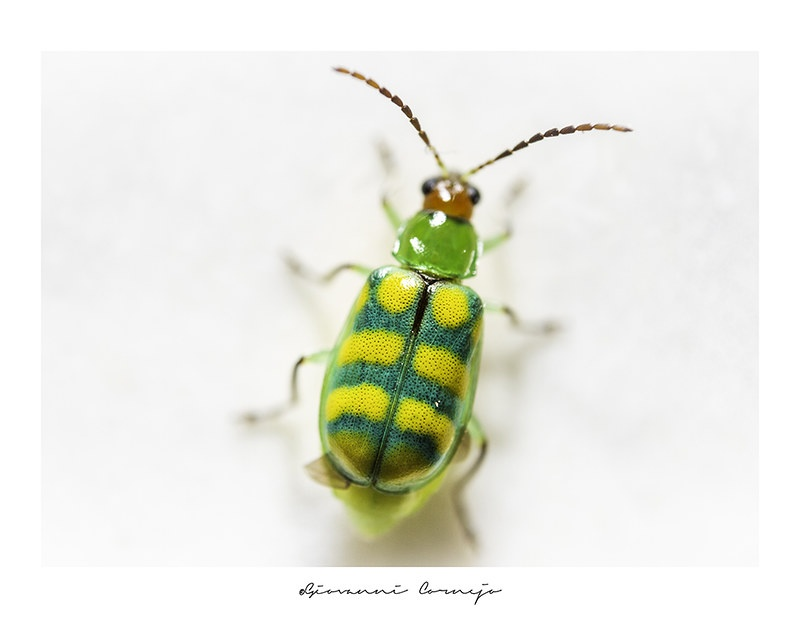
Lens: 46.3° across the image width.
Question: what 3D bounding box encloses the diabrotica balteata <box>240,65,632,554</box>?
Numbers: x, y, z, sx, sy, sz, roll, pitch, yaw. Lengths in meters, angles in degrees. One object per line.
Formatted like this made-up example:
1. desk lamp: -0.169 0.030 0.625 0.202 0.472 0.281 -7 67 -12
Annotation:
1. diabrotica balteata: 0.082 0.427 7.117 1.682 1.491 2.312 16 62 4
